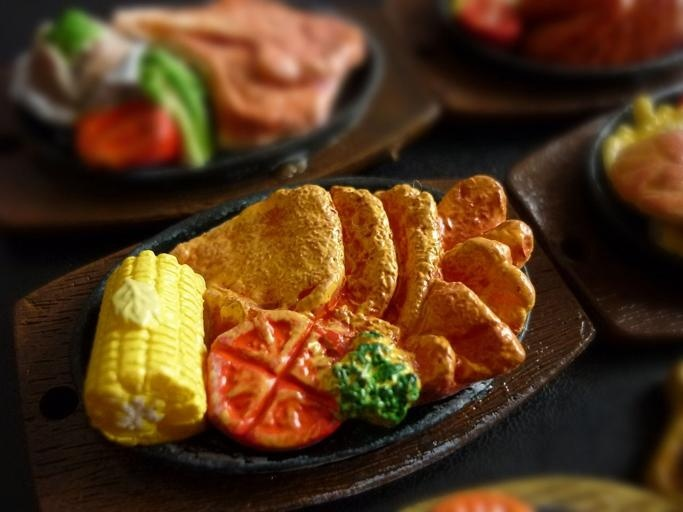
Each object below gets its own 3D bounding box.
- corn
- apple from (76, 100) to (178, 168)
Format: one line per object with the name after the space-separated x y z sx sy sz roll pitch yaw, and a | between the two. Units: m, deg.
-0.348 0.139 1.329 0.207 0.172 0.385 -1 40 -14 | corn
-0.491 -0.273 1.697 0.241 0.268 0.114 -15 86 -9 | apple
